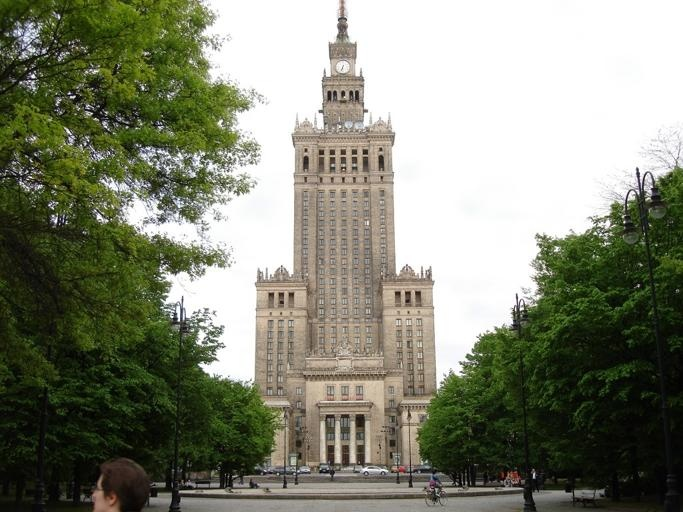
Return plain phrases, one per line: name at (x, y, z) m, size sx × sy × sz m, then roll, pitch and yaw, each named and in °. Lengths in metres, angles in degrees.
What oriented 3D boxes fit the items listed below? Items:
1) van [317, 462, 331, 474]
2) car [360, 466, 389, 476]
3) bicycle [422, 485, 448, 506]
van at (-2.122, 26.577, 129.282) m, size 1.029 × 0.829 × 2.452 m, roll 0°, pitch -18°, yaw 1°
car at (3.942, 25.783, 123.643) m, size 3.266 × 1.103 × 1.495 m, roll -2°, pitch -10°, yaw 2°
bicycle at (5.641, 13.843, 59.564) m, size 1.894 × 1.102 × 0.862 m, roll 6°, pitch -14°, yaw -41°
